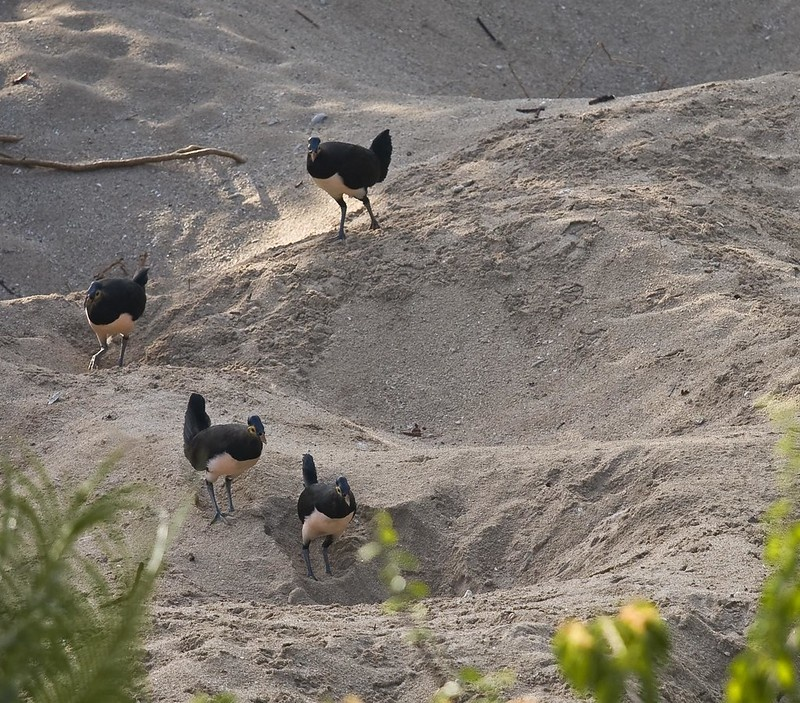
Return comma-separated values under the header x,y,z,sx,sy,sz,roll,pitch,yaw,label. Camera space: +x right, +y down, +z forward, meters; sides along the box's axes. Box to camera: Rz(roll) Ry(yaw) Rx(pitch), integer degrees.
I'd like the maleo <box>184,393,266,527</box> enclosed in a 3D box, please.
x,y,z,sx,sy,sz,roll,pitch,yaw,label
-1.501,0.904,15.492,0.449,1.066,1.063,-5,103,-42,maleo

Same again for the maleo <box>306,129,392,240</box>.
x,y,z,sx,sy,sz,roll,pitch,yaw,label
-0.595,-1.777,19.237,0.725,1.454,1.100,4,100,39,maleo

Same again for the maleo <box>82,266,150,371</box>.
x,y,z,sx,sy,sz,roll,pitch,yaw,label
-2.845,-0.354,18.352,0.548,1.500,1.009,3,105,10,maleo
